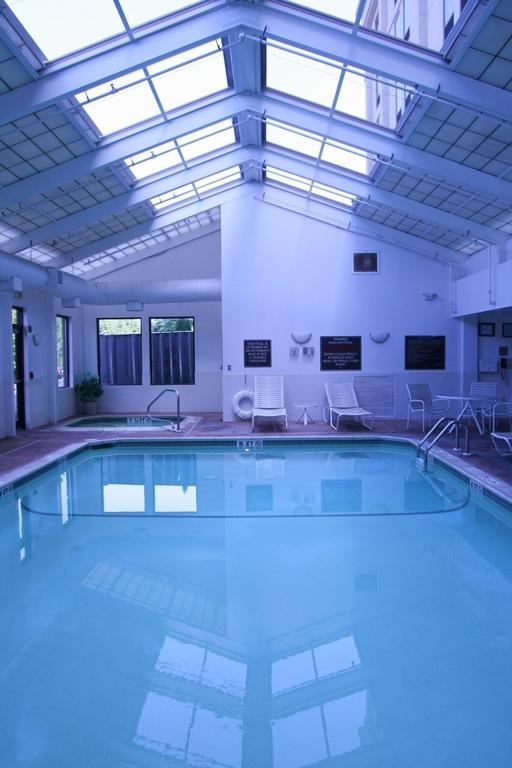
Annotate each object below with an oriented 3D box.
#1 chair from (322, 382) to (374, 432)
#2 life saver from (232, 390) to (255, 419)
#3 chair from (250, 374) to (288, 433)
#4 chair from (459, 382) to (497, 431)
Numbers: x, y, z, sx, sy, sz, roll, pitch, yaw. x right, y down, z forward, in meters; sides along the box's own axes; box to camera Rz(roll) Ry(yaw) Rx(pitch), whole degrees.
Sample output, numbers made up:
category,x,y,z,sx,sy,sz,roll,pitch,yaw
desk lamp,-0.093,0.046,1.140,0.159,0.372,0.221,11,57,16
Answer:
category,x,y,z,sx,sy,sz,roll,pitch,yaw
chair,1.772,0.379,9.961,0.578,0.764,1.062,-1,4,-8
life saver,-0.253,0.405,10.216,0.478,0.526,0.126,-20,10,-38
chair,0.254,0.396,9.482,0.745,0.898,1.320,0,5,-4
chair,4.113,0.396,9.388,0.530,0.831,2.224,2,5,23
